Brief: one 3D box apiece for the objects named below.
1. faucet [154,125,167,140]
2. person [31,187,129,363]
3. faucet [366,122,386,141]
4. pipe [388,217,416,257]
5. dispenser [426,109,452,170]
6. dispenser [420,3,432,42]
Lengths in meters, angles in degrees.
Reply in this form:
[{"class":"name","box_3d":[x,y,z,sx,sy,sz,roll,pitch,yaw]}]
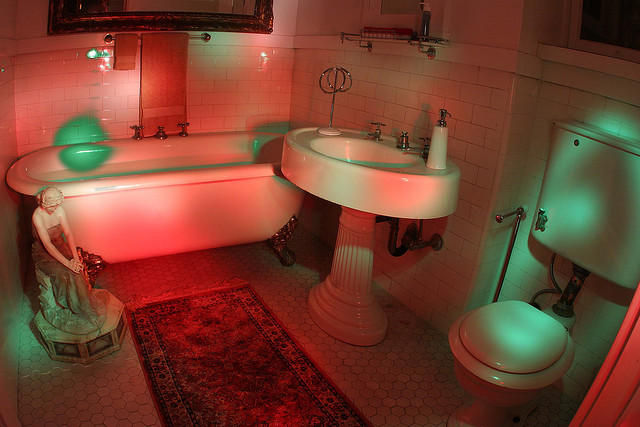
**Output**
[{"class":"faucet","box_3d":[-1.438,-0.727,3.676,0.133,0.132,0.077,-1,12,-33]},{"class":"person","box_3d":[-1.524,0.379,2.577,0.628,0.884,0.572,25,34,12]},{"class":"faucet","box_3d":[0.367,-0.562,2.815,0.140,0.133,0.102,-4,23,-17]},{"class":"pipe","box_3d":[0.574,0.160,2.868,0.175,0.329,0.135,9,27,14]},{"class":"dispenser","box_3d":[0.659,-0.414,2.297,0.110,0.316,0.130,-7,41,-14]},{"class":"dispenser","box_3d":[0.644,-1.166,2.506,0.067,0.214,0.184,8,27,12]}]
